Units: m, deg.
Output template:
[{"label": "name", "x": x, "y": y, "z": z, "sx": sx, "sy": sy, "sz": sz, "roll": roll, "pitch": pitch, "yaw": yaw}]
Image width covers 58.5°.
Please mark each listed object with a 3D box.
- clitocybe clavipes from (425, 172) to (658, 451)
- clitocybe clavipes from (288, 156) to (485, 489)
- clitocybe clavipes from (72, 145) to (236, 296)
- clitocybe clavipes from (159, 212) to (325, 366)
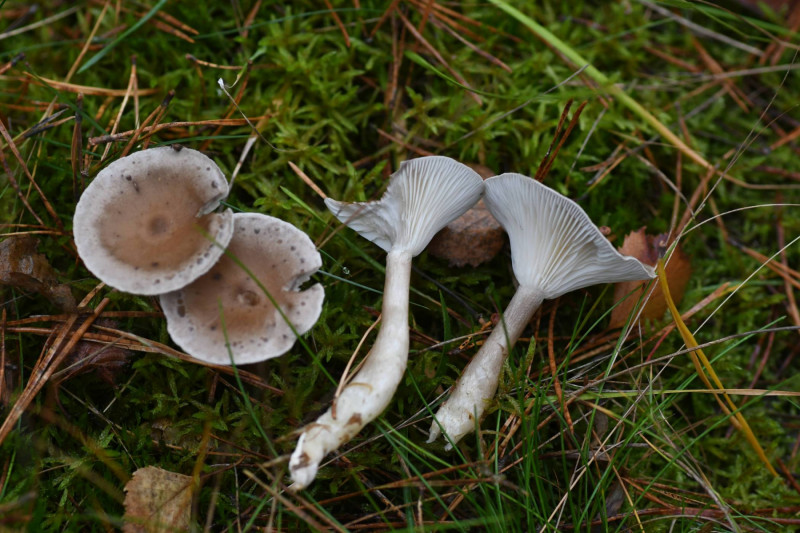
[{"label": "clitocybe clavipes", "x": 0.802, "y": 0.285, "z": 4.974, "sx": 1.548, "sy": 0.701, "sz": 1.945, "roll": 38, "pitch": 55, "yaw": -3}, {"label": "clitocybe clavipes", "x": -0.018, "y": 0.235, "z": 5.153, "sx": 1.069, "sy": 0.434, "sz": 2.583, "roll": 5, "pitch": 64, "yaw": 22}, {"label": "clitocybe clavipes", "x": -1.695, "y": -0.289, "z": 4.904, "sx": 1.003, "sy": 0.320, "sz": 1.045, "roll": -19, "pitch": 70, "yaw": -16}, {"label": "clitocybe clavipes", "x": -1.031, "y": 0.193, "z": 4.885, "sx": 1.072, "sy": 0.332, "sz": 1.102, "roll": 21, "pitch": 73, "yaw": 5}]
